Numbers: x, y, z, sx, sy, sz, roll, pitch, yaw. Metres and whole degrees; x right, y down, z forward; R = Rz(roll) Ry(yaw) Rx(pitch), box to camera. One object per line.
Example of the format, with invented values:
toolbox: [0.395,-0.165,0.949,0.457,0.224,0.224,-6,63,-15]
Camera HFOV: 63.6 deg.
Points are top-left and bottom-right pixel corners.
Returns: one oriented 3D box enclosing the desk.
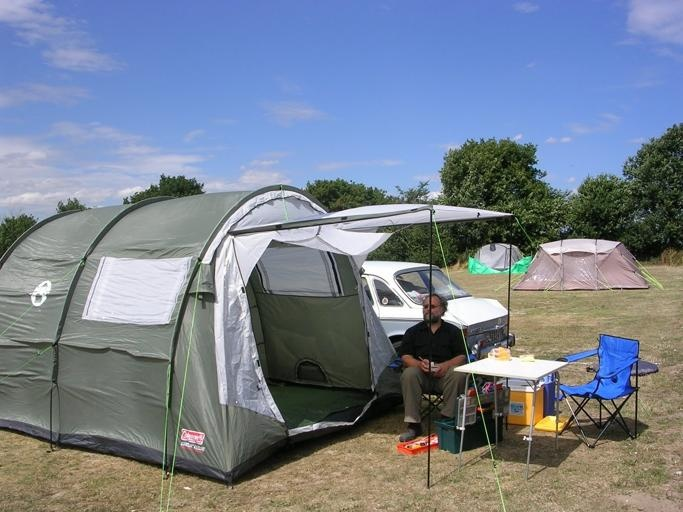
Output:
desk: [1.939,1.685,6.424,1.253,1.088,1.236,-2,4,-42]

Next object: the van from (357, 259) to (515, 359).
van: [1.532,0.762,9.198,2.396,0.846,1.415,5,8,30]

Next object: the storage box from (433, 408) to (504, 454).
storage box: [1.542,2.114,6.659,0.741,0.275,0.462,-3,1,-35]

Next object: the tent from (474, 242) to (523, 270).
tent: [8.481,0.014,29.670,2.068,0.675,1.868,-1,1,40]

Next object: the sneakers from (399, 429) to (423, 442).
sneakers: [0.881,2.211,6.867,0.279,0.116,0.119,3,-5,-41]
